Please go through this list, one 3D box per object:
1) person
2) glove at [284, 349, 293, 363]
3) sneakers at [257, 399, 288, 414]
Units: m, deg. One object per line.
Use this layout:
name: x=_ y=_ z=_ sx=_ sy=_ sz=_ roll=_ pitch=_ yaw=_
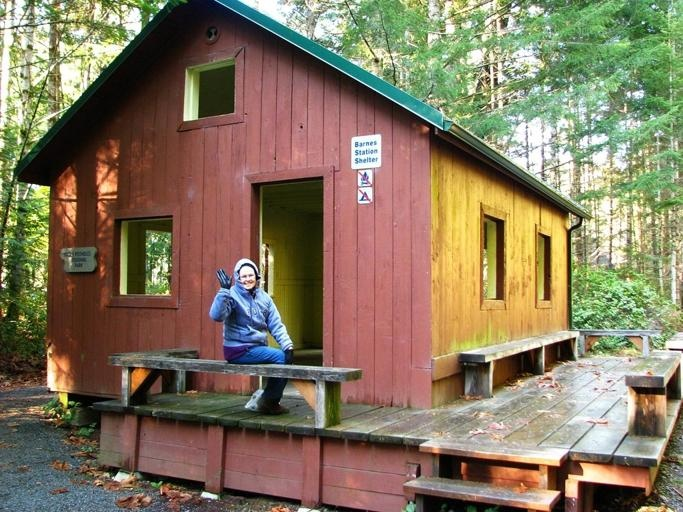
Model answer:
person: x=-1.121 y=0.978 z=7.607 sx=1.009 sy=1.892 sz=0.996 roll=2 pitch=-3 yaw=-21
glove: x=-0.631 y=1.180 z=7.450 sx=0.153 sy=0.190 sz=0.099 roll=0 pitch=-3 yaw=10
sneakers: x=-0.871 y=1.867 z=7.856 sx=0.435 sy=0.202 sz=0.156 roll=7 pitch=-3 yaw=-3
